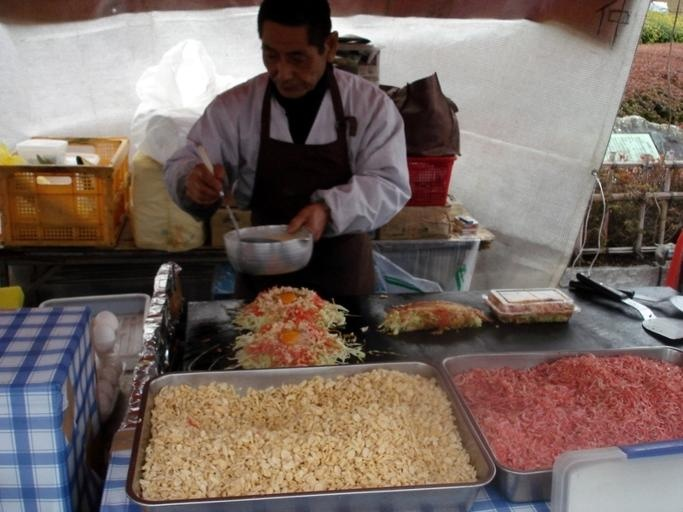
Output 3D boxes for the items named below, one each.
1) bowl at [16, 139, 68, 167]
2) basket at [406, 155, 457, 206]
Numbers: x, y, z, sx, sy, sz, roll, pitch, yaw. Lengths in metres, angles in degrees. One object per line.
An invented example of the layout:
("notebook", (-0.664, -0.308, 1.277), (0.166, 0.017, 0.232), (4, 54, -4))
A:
("bowl", (-2.194, -0.762, 3.701), (0.301, 0.152, 0.221), (1, 12, -3))
("basket", (0.682, -0.573, 3.857), (0.366, 0.384, 0.101), (-4, 27, -13))
